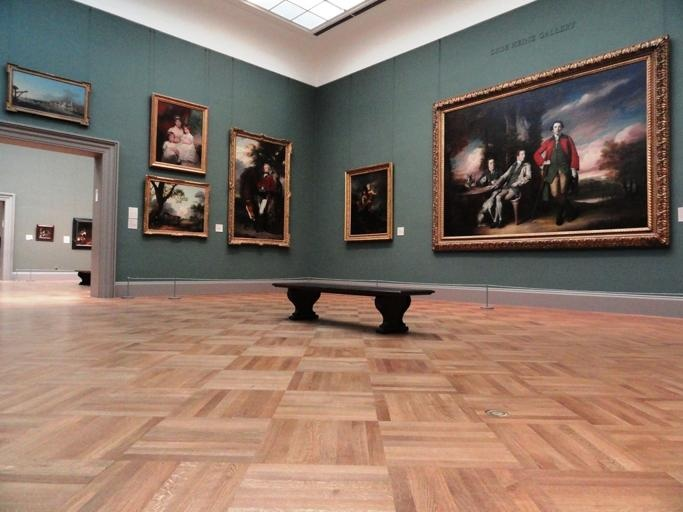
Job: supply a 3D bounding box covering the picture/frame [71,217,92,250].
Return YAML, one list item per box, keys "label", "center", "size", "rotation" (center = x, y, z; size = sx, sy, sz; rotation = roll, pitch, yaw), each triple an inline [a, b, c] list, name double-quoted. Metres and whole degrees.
- label: "picture/frame"
  center: [-10.808, -0.929, 19.720]
  size: [0.186, 1.329, 1.362]
  rotation: [0, -2, 33]

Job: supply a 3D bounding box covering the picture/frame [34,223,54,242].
- label: "picture/frame"
  center: [-11.781, -0.928, 18.805]
  size: [0.099, 0.711, 0.730]
  rotation: [-4, -3, 44]

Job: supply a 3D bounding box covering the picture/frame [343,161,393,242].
- label: "picture/frame"
  center: [0.764, -1.489, 13.676]
  size: [0.221, 2.185, 1.856]
  rotation: [0, 1, -42]

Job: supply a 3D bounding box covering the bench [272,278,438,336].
- label: "bench"
  center: [0.012, 0.730, 8.028]
  size: [1.866, 0.708, 4.172]
  rotation: [0, 2, -8]

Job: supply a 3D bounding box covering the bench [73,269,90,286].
- label: "bench"
  center: [-8.436, 0.688, 15.612]
  size: [0.326, 0.516, 1.966]
  rotation: [0, 2, -30]
